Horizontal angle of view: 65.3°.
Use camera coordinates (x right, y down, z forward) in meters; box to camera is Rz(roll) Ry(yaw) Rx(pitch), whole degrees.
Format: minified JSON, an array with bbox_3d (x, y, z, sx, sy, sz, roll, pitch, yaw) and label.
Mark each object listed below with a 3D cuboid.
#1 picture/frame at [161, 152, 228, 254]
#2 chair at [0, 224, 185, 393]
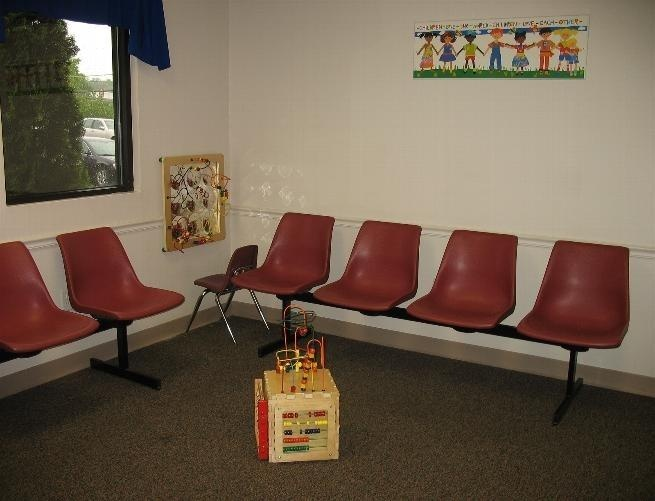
[{"bbox_3d":[-1.287,-0.463,4.824,0.125,0.972,0.838,5,10,29],"label":"picture/frame"},{"bbox_3d":[-1.705,0.342,4.070,1.104,1.580,0.906,6,10,33],"label":"chair"}]
